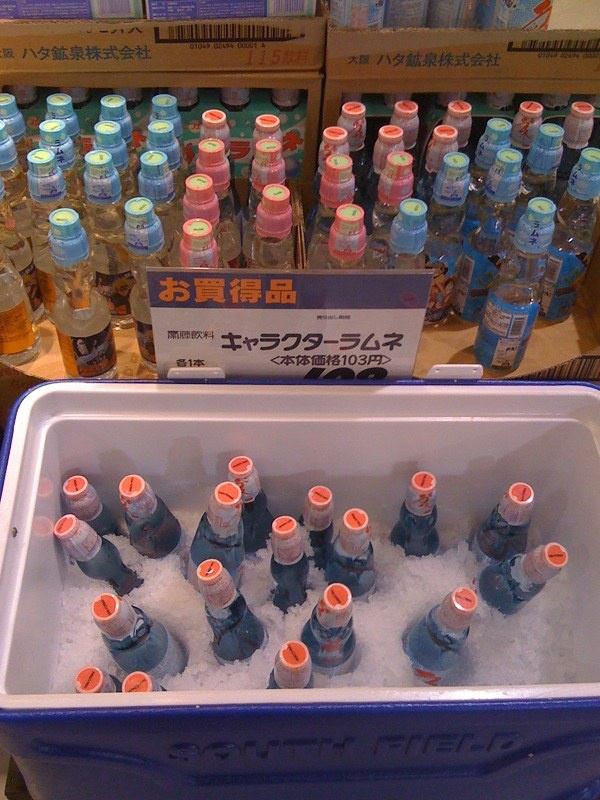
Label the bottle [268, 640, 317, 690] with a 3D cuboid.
[{"bbox_3d":[-0.009,0.311,0.712,0.039,0.074,0.050,9,42,10],"label":"bottle"}]

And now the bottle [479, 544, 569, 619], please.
[{"bbox_3d":[0.352,0.288,0.961,0.051,0.151,0.049,1,75,-5],"label":"bottle"}]
